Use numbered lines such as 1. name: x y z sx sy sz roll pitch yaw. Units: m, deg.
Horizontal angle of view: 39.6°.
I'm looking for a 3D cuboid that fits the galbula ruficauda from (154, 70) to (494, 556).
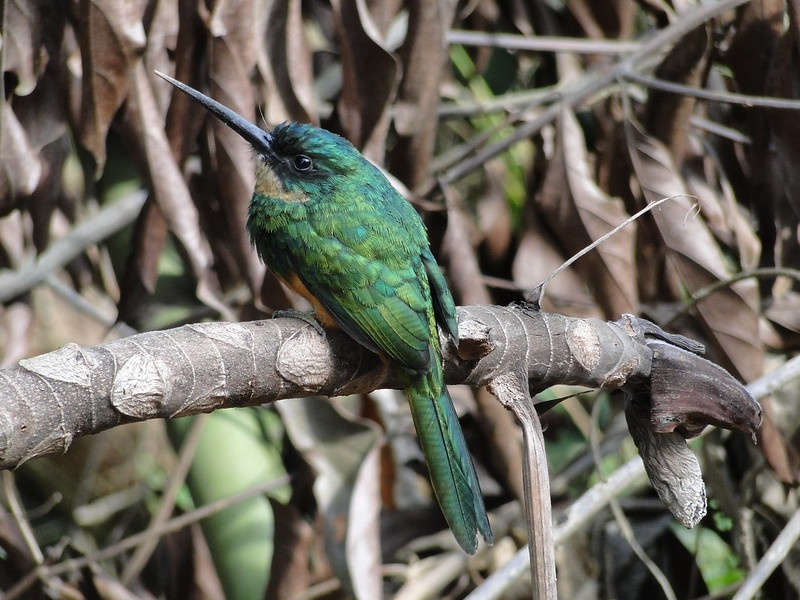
1. galbula ruficauda: -0.294 0.039 3.933 0.521 0.784 1.959 -27 68 -41
